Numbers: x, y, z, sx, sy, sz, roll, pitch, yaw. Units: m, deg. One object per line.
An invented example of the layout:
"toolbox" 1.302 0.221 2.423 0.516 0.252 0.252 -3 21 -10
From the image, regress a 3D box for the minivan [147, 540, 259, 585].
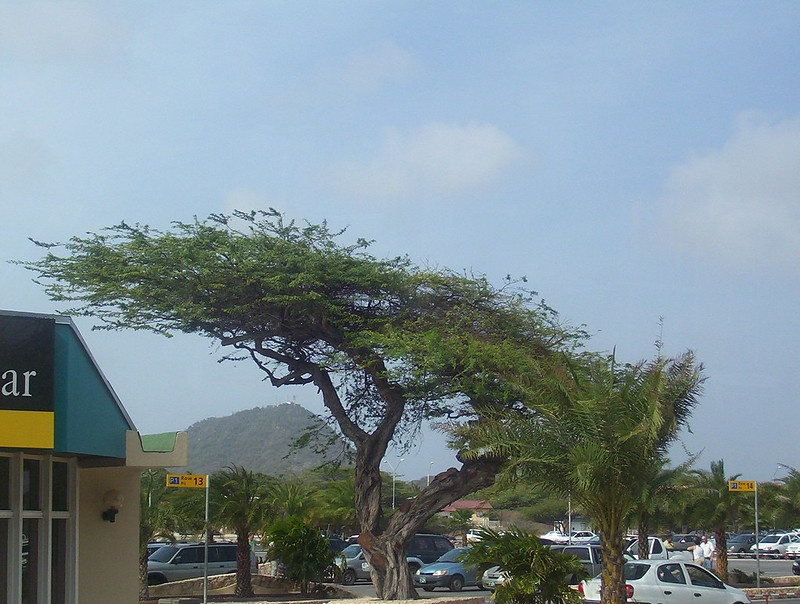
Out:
"minivan" -7.822 9.801 53.219 3.663 1.551 1.713 10 -15 -33
